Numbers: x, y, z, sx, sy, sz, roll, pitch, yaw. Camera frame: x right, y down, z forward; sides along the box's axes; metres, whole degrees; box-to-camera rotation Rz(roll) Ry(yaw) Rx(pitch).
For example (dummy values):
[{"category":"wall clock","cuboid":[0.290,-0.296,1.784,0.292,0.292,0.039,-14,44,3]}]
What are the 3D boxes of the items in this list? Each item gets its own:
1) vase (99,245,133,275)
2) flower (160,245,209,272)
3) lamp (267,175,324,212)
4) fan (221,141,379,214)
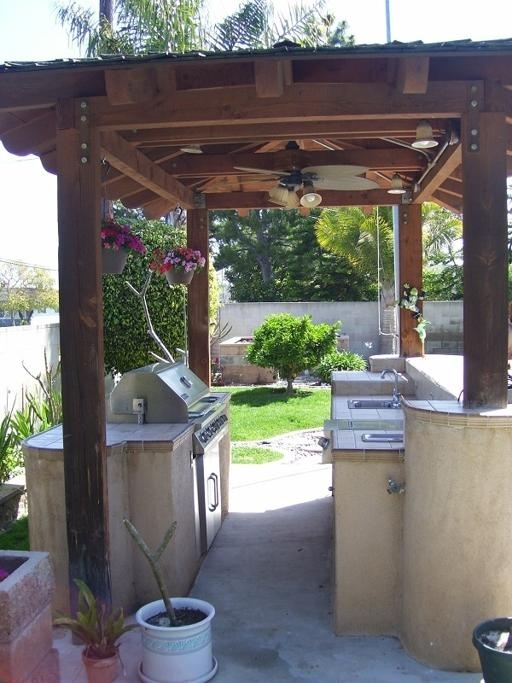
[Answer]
[{"category":"vase","cuboid":[-0.793,-0.463,3.864,0.125,0.108,0.134,0,-1,-1]},{"category":"flower","cuboid":[-0.566,-0.628,5.237,0.229,0.169,0.202,0,-3,-9]},{"category":"lamp","cuboid":[0.268,-0.950,4.332,0.299,0.312,0.287,0,6,23]},{"category":"fan","cuboid":[0.379,-1.061,4.406,0.742,0.387,0.793,6,15,25]}]
